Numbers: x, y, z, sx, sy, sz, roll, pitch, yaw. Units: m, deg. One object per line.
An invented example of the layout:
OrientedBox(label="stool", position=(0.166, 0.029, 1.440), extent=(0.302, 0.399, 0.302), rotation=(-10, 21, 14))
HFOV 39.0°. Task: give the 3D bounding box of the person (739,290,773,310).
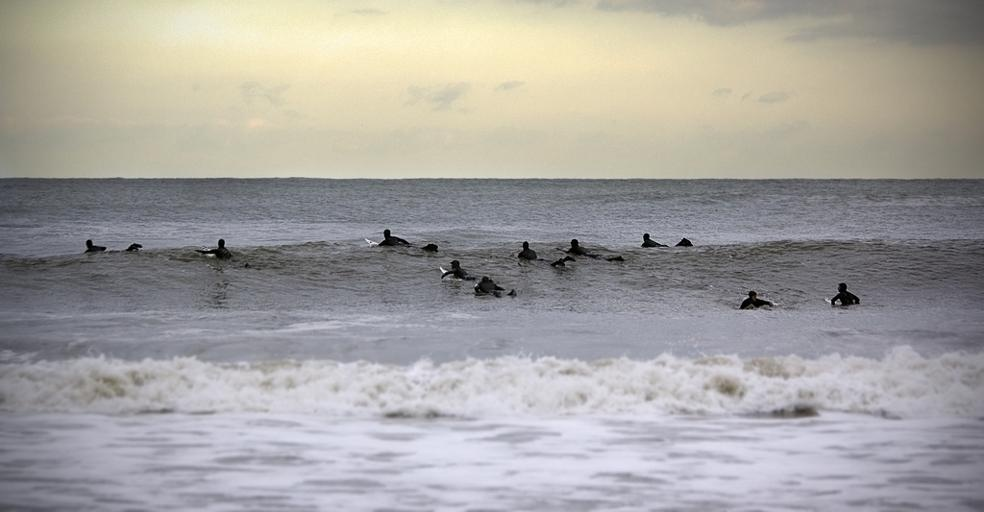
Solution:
OrientedBox(label="person", position=(14.967, 2.404, 77.939), extent=(1.752, 0.933, 2.358), rotation=(6, 8, 28))

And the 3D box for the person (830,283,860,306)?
OrientedBox(label="person", position=(20.163, 2.204, 79.384), extent=(1.433, 1.852, 0.851), rotation=(7, 7, -4))

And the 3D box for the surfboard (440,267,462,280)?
OrientedBox(label="surfboard", position=(-2.310, 1.062, 81.769), extent=(0.938, 0.300, 0.883), rotation=(6, -4, 32))
